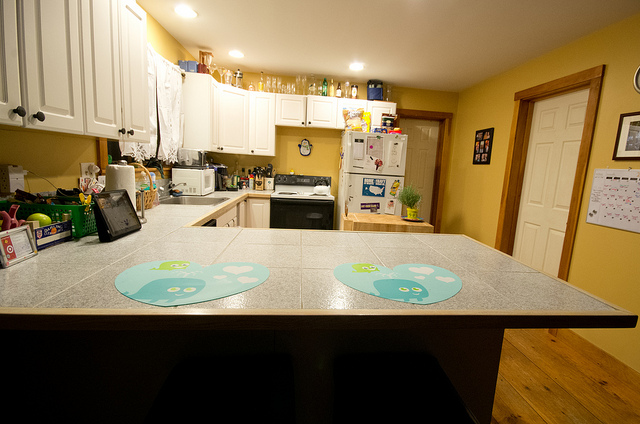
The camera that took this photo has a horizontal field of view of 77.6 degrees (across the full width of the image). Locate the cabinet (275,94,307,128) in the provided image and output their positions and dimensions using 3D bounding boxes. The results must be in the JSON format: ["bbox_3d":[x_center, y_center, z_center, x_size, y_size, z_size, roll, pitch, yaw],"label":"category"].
[{"bbox_3d":[-0.321,-1.319,5.132,0.426,0.376,0.285,6,24,6],"label":"cabinet"}]

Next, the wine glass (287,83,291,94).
[{"bbox_3d":[-0.399,-1.633,5.235,0.041,0.125,0.086,1,13,-6],"label":"wine glass"}]

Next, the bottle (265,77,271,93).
[{"bbox_3d":[-0.657,-1.637,5.121,0.064,0.191,0.186,0,13,-8],"label":"bottle"}]

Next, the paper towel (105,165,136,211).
[{"bbox_3d":[-1.443,-0.204,2.895,0.185,0.313,0.180,2,9,-35],"label":"paper towel"}]

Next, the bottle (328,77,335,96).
[{"bbox_3d":[0.156,-1.644,5.236,0.067,0.219,0.156,4,13,8],"label":"bottle"}]

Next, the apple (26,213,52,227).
[{"bbox_3d":[-1.731,0.049,2.469,0.125,0.068,0.090,-7,16,-38],"label":"apple"}]

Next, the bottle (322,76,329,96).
[{"bbox_3d":[0.081,-1.622,5.145,0.080,0.246,0.218,2,12,1],"label":"bottle"}]

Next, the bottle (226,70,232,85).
[{"bbox_3d":[-1.131,-1.695,5.012,0.070,0.191,0.226,-1,13,-13],"label":"bottle"}]

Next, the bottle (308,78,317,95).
[{"bbox_3d":[-0.084,-1.635,5.184,0.091,0.217,0.209,2,12,0],"label":"bottle"}]

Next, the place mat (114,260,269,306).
[{"bbox_3d":[-0.705,0.389,2.213,0.831,0.128,0.348,2,12,-3],"label":"place mat"}]

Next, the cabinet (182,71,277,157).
[{"bbox_3d":[-1.085,-1.116,4.863,1.254,0.776,0.648,0,5,-40],"label":"cabinet"}]

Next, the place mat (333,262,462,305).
[{"bbox_3d":[0.448,0.402,2.291,0.738,0.108,0.344,3,12,1],"label":"place mat"}]

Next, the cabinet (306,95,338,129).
[{"bbox_3d":[0.009,-1.287,5.175,0.419,0.377,0.268,1,12,-17],"label":"cabinet"}]

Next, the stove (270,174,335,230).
[{"bbox_3d":[-0.218,-0.150,5.110,0.772,0.571,0.921,2,12,-1],"label":"stove"}]

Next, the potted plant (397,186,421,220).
[{"bbox_3d":[0.799,-0.058,3.482,0.185,0.269,0.195,7,-4,-5],"label":"potted plant"}]

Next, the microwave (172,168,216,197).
[{"bbox_3d":[-1.360,-0.345,4.410,0.356,0.310,0.496,2,9,0],"label":"microwave"}]

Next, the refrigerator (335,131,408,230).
[{"bbox_3d":[0.719,-0.441,5.135,0.817,1.356,0.781,-7,33,-9],"label":"refrigerator"}]
